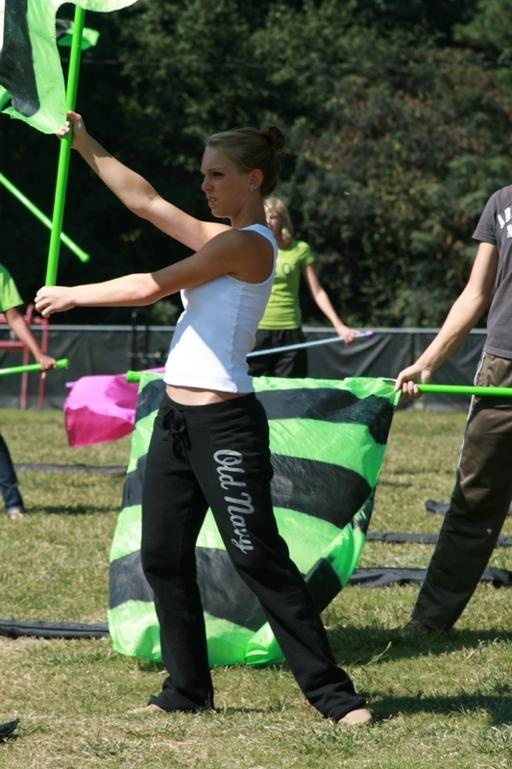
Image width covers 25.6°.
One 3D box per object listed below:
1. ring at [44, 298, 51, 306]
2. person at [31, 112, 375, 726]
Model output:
[{"bbox_3d":[-0.620,-0.238,3.282,0.023,0.025,0.011,14,13,15],"label":"ring"},{"bbox_3d":[-0.141,0.116,3.428,1.014,1.767,0.419,1,6,6],"label":"person"}]
